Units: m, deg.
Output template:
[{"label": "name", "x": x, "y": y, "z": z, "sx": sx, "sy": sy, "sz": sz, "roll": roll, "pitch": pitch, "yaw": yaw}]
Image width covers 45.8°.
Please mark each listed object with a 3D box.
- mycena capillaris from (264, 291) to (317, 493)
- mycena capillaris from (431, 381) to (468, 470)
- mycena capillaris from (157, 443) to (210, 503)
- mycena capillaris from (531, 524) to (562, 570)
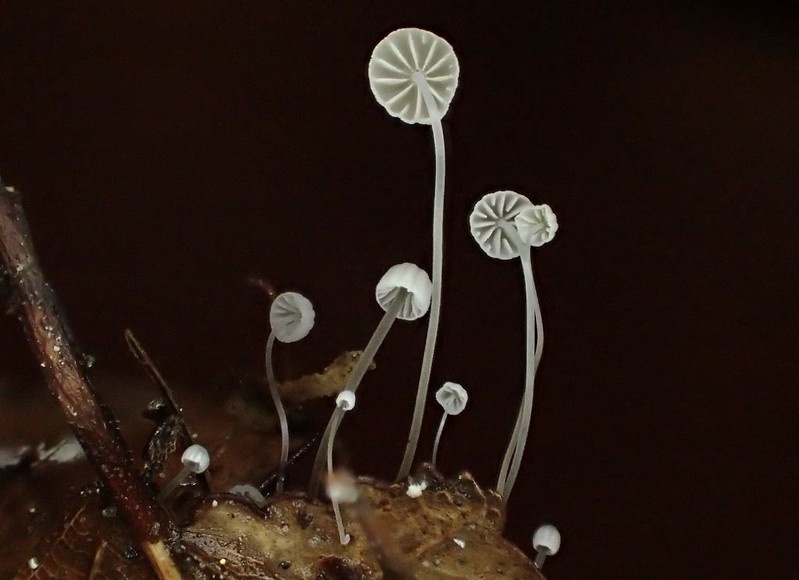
[{"label": "mycena capillaris", "x": -0.426, "y": 0.389, "z": 3.706, "sx": 0.203, "sy": 0.724, "sz": 0.136, "roll": 1, "pitch": 9, "yaw": 27}, {"label": "mycena capillaris", "x": 0.178, "y": 0.515, "z": 3.643, "sx": 0.127, "sy": 0.297, "sz": 0.134, "roll": 5, "pitch": -25, "yaw": 20}, {"label": "mycena capillaris", "x": -0.805, "y": 0.693, "z": 3.490, "sx": 0.088, "sy": 0.207, "sz": 0.089, "roll": 44, "pitch": -38, "yaw": -10}, {"label": "mycena capillaris", "x": 0.550, "y": 0.979, "z": 3.572, "sx": 0.107, "sy": 0.168, "sz": 0.140, "roll": 9, "pitch": -25, "yaw": 12}]
